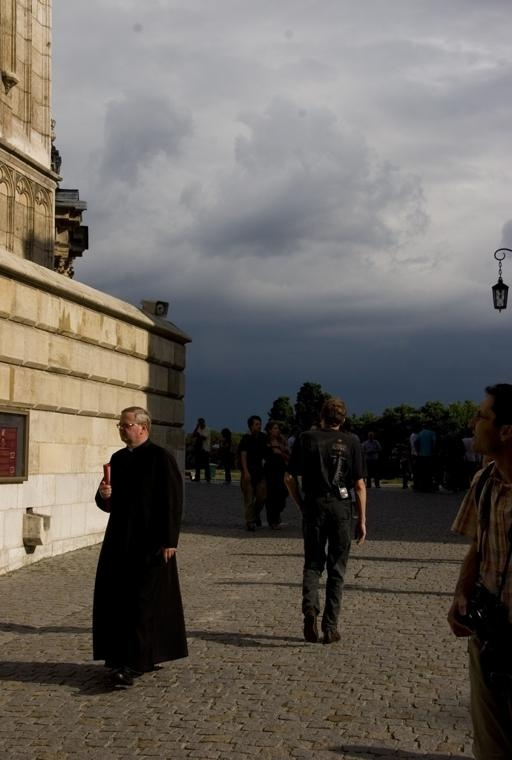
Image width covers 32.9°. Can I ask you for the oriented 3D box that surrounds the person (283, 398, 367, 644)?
[{"bbox_3d":[0.508,1.111,6.344,0.576,1.474,0.758,-1,-2,5],"label":"person"}]

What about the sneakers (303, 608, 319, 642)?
[{"bbox_3d":[0.378,1.725,6.052,0.109,0.210,0.198,-1,-2,3],"label":"sneakers"}]

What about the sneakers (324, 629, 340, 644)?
[{"bbox_3d":[0.527,1.788,6.047,0.057,0.089,0.142,4,12,25],"label":"sneakers"}]

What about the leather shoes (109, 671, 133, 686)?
[{"bbox_3d":[-0.760,1.693,4.884,0.128,0.109,0.064,6,-1,-15],"label":"leather shoes"}]

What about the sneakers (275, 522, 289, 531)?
[{"bbox_3d":[0.412,2.417,14.163,0.121,0.130,0.337,-1,-8,7],"label":"sneakers"}]

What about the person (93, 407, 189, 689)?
[{"bbox_3d":[-0.720,0.969,5.290,0.551,1.589,0.767,-1,-2,-7],"label":"person"}]
